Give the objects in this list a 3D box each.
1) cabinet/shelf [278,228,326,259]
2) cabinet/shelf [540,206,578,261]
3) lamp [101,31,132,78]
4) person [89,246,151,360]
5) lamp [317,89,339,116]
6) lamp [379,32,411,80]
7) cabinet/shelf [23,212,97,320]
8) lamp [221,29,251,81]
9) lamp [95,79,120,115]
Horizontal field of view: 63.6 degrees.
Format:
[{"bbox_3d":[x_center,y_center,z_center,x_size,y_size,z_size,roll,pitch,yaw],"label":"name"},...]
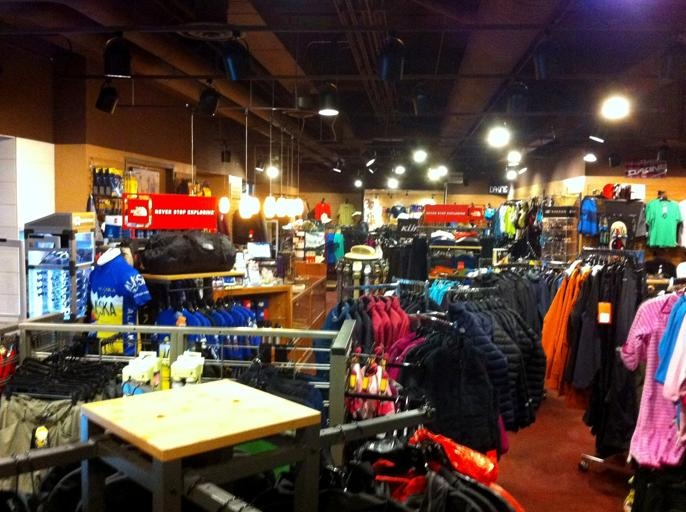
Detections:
[{"bbox_3d":[-0.840,-0.259,12.041,1.056,0.619,1.052,0,12,-24],"label":"cabinet/shelf"},{"bbox_3d":[4.181,-0.220,10.650,0.708,1.177,0.727,-8,-36,35],"label":"cabinet/shelf"},{"bbox_3d":[-2.817,-2.488,6.926,0.333,0.547,0.313,1,5,-2],"label":"lamp"},{"bbox_3d":[-1.960,0.397,4.825,0.760,1.057,0.387,8,11,27],"label":"person"},{"bbox_3d":[-0.220,-2.401,8.661,0.281,0.352,0.297,-3,11,-10],"label":"lamp"},{"bbox_3d":[0.602,-2.447,6.877,0.384,0.620,0.336,1,-1,11],"label":"lamp"},{"bbox_3d":[-2.880,0.093,5.638,0.539,1.000,0.584,0,3,-9],"label":"cabinet/shelf"},{"bbox_3d":[-1.296,-2.402,6.706,0.316,0.505,0.452,-3,4,-12],"label":"lamp"},{"bbox_3d":[-3.427,-2.348,7.995,0.272,0.481,0.762,-4,5,-26],"label":"lamp"}]
